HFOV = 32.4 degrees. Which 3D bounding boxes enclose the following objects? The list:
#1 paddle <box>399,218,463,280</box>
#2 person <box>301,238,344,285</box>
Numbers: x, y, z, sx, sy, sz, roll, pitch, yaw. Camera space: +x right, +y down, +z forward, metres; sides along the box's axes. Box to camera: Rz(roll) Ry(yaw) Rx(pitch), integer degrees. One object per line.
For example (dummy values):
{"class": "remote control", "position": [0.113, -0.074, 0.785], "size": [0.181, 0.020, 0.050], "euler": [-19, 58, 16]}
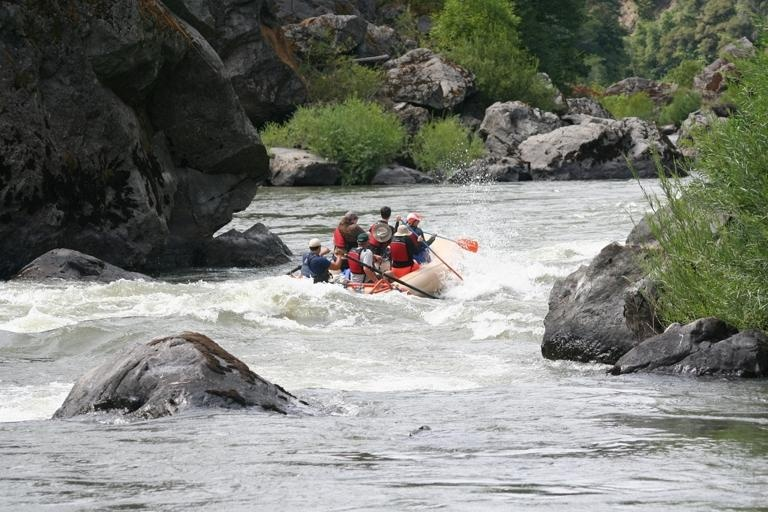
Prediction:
{"class": "paddle", "position": [1.019, -0.137, 30.374], "size": [0.512, 1.870, 0.378], "euler": [-38, -9, -50]}
{"class": "person", "position": [-1.361, 0.129, 29.073], "size": [0.700, 1.080, 0.650], "euler": [23, 48, 26]}
